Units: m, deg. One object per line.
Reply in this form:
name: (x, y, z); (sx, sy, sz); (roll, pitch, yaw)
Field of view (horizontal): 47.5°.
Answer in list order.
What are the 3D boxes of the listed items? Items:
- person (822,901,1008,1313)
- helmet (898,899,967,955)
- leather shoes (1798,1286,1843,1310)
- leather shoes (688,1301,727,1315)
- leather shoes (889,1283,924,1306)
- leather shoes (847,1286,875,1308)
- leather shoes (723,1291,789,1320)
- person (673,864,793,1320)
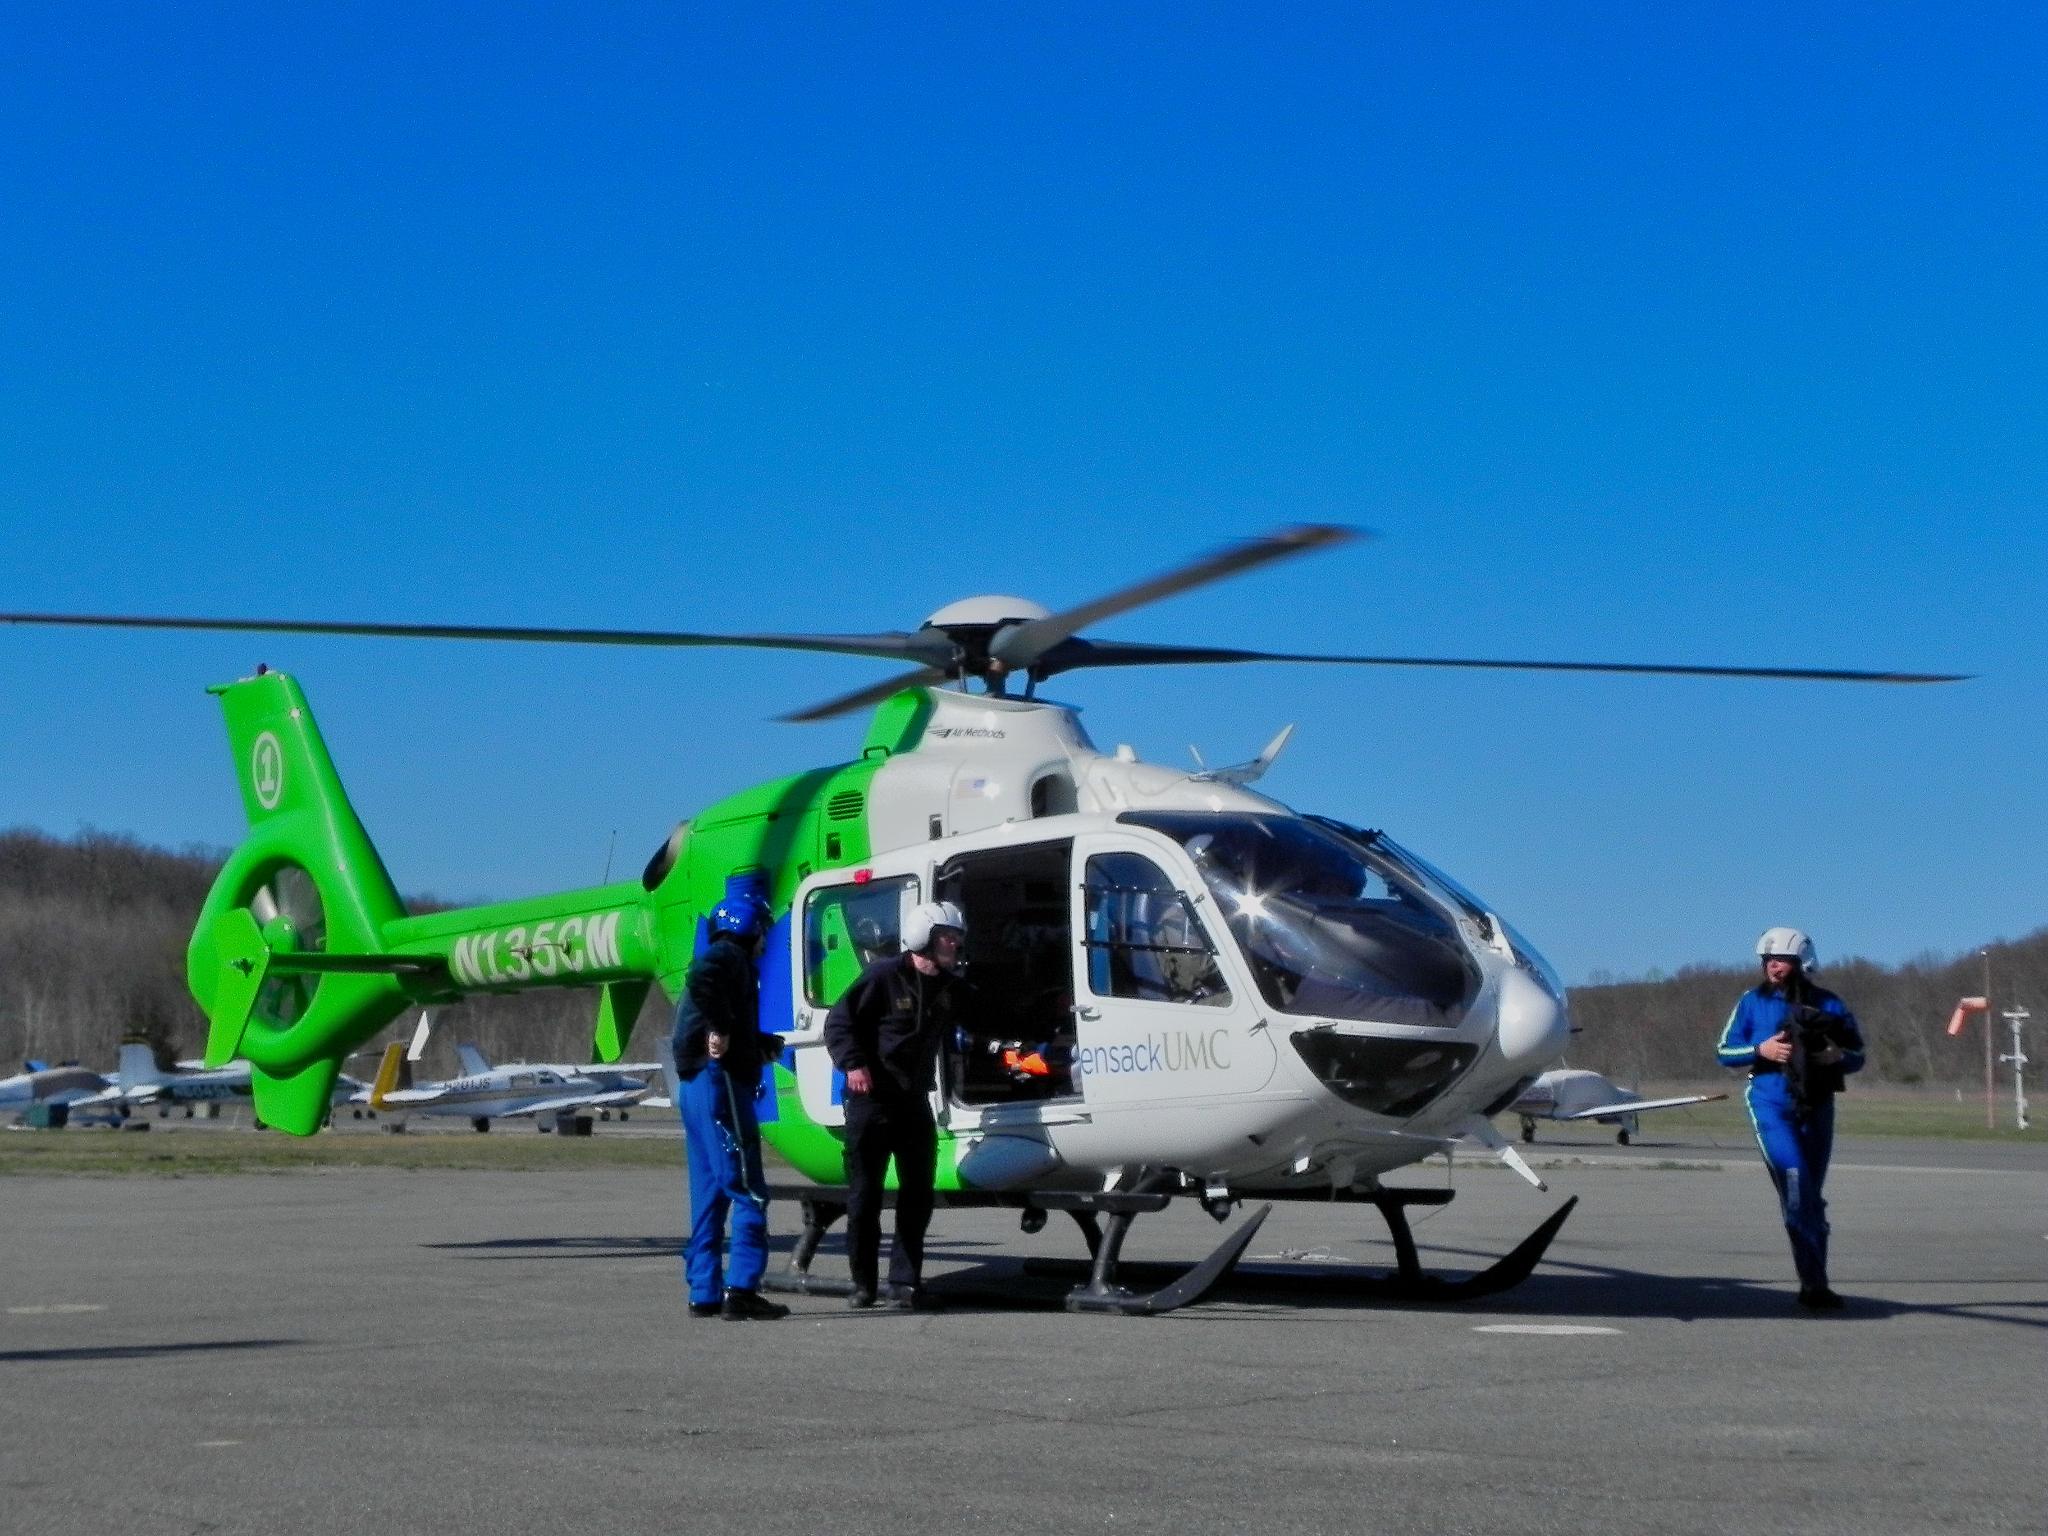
person: (-0.708, 1.815, 12.771); (0.757, 2.225, 0.673); (-1, -7, -4)
helmet: (-0.578, 0.863, 12.790); (0.393, 0.265, 0.282); (-24, -15, 19)
leather shoes: (4.381, 2.865, 12.696); (0.263, 0.115, 0.182); (0, -6, -8)
leather shoes: (-1.671, 2.811, 12.160); (0.191, 0.059, 0.055); (-5, -5, 14)
leather shoes: (-0.657, 2.861, 12.727); (0.164, 0.105, 0.105); (14, -20, -7)
leather shoes: (-0.890, 2.877, 12.742); (0.154, 0.101, 0.083); (-1, -4, 7)
leather shoes: (-1.418, 2.769, 12.102); (0.324, 0.141, 0.171); (-1, -6, -5)
person: (-1.654, 1.714, 12.749); (0.586, 2.403, 1.488); (-1, -7, -7)
